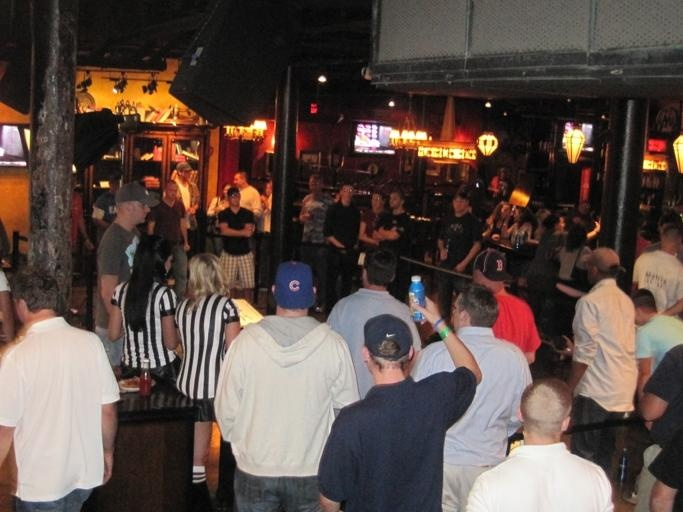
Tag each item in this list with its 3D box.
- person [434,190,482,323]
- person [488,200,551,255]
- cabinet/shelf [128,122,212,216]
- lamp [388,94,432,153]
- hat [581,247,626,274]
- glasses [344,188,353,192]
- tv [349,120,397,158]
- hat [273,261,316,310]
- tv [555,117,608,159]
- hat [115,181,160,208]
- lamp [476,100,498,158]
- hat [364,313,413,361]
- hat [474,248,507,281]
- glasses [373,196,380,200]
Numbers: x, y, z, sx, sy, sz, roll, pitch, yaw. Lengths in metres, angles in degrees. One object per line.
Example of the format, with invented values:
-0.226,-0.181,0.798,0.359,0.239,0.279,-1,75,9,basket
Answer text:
1.731,0.097,9.935,0.721,2.249,0.687,10,18,30,person
3.491,-0.570,12.829,0.707,0.798,1.799,25,4,-12,person
-4.154,-2.102,15.637,1.909,1.879,0.664,1,2,-4,cabinet/shelf
1.791,-3.551,17.133,0.918,1.427,0.937,13,12,41,lamp
2.474,0.040,6.071,0.239,0.178,0.341,1,20,-19,hat
0.116,-1.003,9.725,0.056,0.082,0.170,7,8,35,glasses
0.825,-3.099,17.111,1.048,0.750,0.105,0,4,-14,tv
-0.306,0.160,4.130,0.287,0.159,0.424,-3,40,-12,hat
6.863,-3.491,18.107,1.307,1.021,1.326,-10,23,-9,tv
-1.819,-0.536,5.726,0.338,0.197,0.222,-4,17,-17,hat
3.769,-3.340,16.669,0.589,1.289,0.589,-8,17,-26,lamp
0.252,0.390,3.594,0.279,0.142,0.371,2,10,5,hat
1.257,0.053,5.257,0.259,0.200,0.386,-2,23,-12,hat
0.531,-0.910,9.963,0.073,0.030,0.073,-6,26,11,glasses
